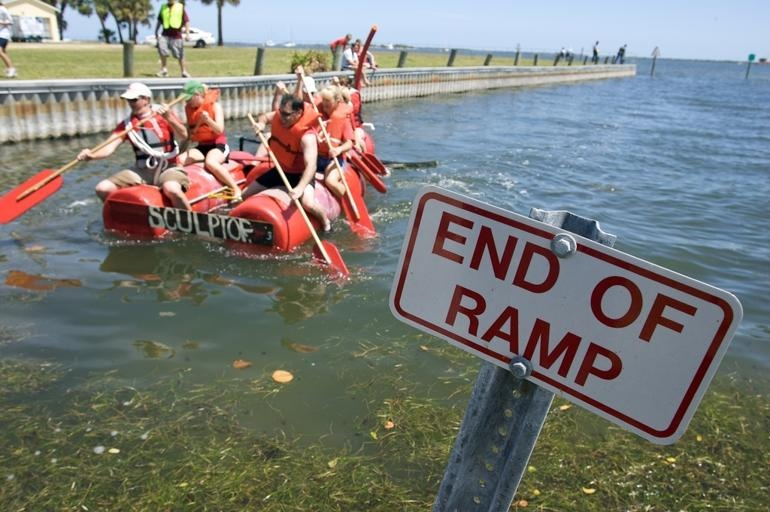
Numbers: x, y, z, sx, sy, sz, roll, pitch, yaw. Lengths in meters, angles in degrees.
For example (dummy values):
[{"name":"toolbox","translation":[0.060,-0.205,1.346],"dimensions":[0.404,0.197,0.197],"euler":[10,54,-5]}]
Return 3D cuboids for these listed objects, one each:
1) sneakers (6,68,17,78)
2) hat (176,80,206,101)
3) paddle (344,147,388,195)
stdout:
[{"name":"sneakers","translation":[-9.214,-4.552,15.250],"dimensions":[0.194,0.234,0.554],"euler":[0,17,-16]},{"name":"hat","translation":[-3.169,-2.747,10.185],"dimensions":[0.453,0.258,0.286],"euler":[-32,60,-21]},{"name":"paddle","translation":[-0.219,-1.495,11.352],"dimensions":[1.407,0.307,0.339],"euler":[39,-14,-35]}]
